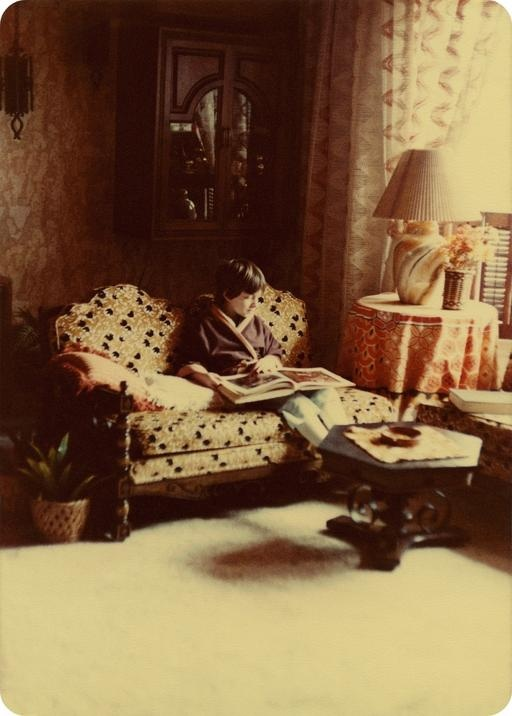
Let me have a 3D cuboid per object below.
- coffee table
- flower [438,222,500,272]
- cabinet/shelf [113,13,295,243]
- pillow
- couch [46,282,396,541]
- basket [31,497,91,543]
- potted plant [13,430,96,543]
[{"bbox_3d":[0.365,0.364,1.716,0.437,0.275,0.441,21,-23,-38],"label":"coffee table"},{"bbox_3d":[0.706,-0.363,2.183,0.167,0.154,0.155,7,8,16],"label":"flower"},{"bbox_3d":[-0.047,-0.796,2.366,0.683,0.685,0.272,21,27,37],"label":"cabinet/shelf"},{"bbox_3d":[-0.315,0.071,1.763,0.319,0.080,0.195,26,-2,-36],"label":"pillow"},{"bbox_3d":[-0.108,0.174,1.843,0.823,0.478,0.339,-4,7,-36],"label":"couch"},{"bbox_3d":[-0.495,0.413,1.658,0.140,0.084,0.132,1,-3,-11],"label":"basket"},{"bbox_3d":[-0.492,0.375,1.704,0.194,0.192,0.159,4,-7,-3],"label":"potted plant"}]
